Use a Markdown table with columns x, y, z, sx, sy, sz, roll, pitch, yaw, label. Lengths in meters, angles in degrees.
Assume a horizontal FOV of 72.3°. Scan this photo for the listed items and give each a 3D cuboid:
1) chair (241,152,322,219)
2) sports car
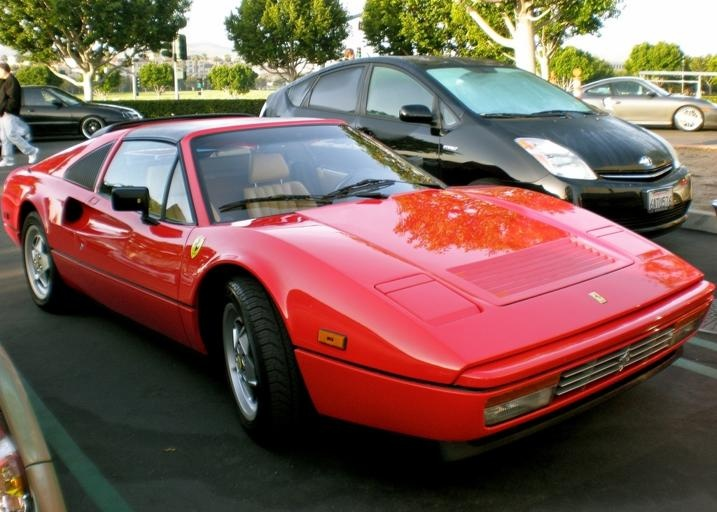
| x | y | z | sx | sy | sz | roll | pitch | yaw | label |
| --- | --- | --- | --- | --- | --- | --- | --- | --- | --- |
| -0.519 | -0.425 | 3.286 | 0.484 | 0.481 | 0.496 | -12 | 22 | -19 | chair |
| -0.573 | -0.019 | 3.276 | 4.171 | 0.977 | 2.344 | 15 | 21 | 42 | sports car |
